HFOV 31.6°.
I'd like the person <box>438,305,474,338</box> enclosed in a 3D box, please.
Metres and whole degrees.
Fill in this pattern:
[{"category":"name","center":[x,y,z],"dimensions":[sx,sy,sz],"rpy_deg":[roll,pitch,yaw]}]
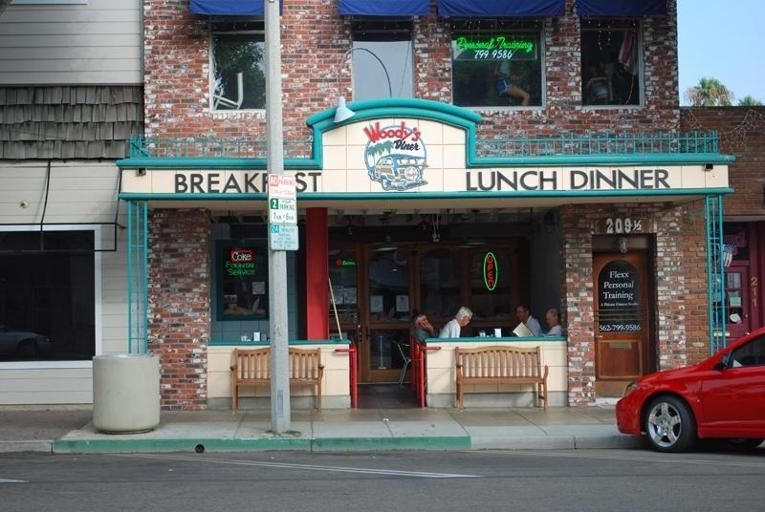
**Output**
[{"category":"person","center":[1.612,1.464,29.770],"dimensions":[0.645,0.691,2.103],"rpy_deg":[-1,-5,11]}]

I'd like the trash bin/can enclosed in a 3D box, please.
[{"category":"trash bin/can","center":[-5.001,2.714,27.266],"dimensions":[1.473,1.592,1.463],"rpy_deg":[0,-3,-1]}]

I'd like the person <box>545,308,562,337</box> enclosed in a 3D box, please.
[{"category":"person","center":[3.719,1.416,29.304],"dimensions":[0.339,0.602,0.734],"rpy_deg":[-1,-5,6]}]

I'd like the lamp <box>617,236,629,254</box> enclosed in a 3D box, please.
[{"category":"lamp","center":[5.198,-0.282,29.140],"dimensions":[0.189,0.342,0.252],"rpy_deg":[-4,-6,37]}]

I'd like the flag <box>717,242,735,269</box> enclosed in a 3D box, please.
[{"category":"flag","center":[7.919,-0.035,30.959],"dimensions":[0.355,0.570,0.117],"rpy_deg":[4,-6,-40]}]

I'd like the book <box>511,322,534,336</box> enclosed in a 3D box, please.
[{"category":"book","center":[3.044,1.556,29.370],"dimensions":[0.408,0.327,0.573],"rpy_deg":[-1,-5,6]}]

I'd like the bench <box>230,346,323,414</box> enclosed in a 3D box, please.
[{"category":"bench","center":[-2.254,2.565,28.462],"dimensions":[1.979,1.333,0.692],"rpy_deg":[0,-5,-7]}]

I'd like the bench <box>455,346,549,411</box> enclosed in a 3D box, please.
[{"category":"bench","center":[2.482,2.528,28.537],"dimensions":[1.922,1.322,0.490],"rpy_deg":[0,-5,-2]}]
